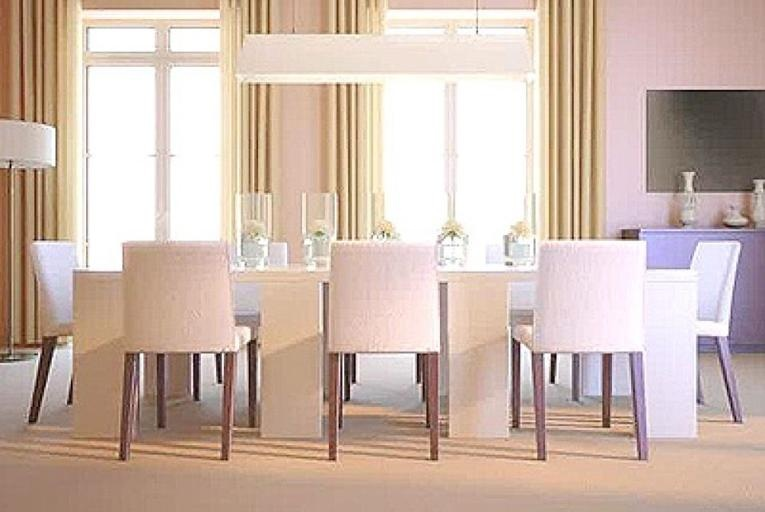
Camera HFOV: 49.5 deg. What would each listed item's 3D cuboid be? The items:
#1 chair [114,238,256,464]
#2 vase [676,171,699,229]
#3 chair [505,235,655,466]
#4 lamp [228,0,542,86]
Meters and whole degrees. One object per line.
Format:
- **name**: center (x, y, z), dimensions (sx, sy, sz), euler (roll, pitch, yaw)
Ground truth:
- **chair**: center (-1.194, 0.507, 5.178), dimensions (0.787, 1.207, 0.824), euler (3, 7, 2)
- **vase**: center (2.853, -0.526, 7.691), dimensions (0.171, 0.486, 0.350), euler (4, 14, 19)
- **chair**: center (1.134, 0.565, 5.144), dimensions (0.912, 1.261, 0.928), euler (2, -4, -29)
- **lamp**: center (0.089, -1.809, 6.828), dimensions (2.287, 0.750, 3.077), euler (2, 13, 9)
